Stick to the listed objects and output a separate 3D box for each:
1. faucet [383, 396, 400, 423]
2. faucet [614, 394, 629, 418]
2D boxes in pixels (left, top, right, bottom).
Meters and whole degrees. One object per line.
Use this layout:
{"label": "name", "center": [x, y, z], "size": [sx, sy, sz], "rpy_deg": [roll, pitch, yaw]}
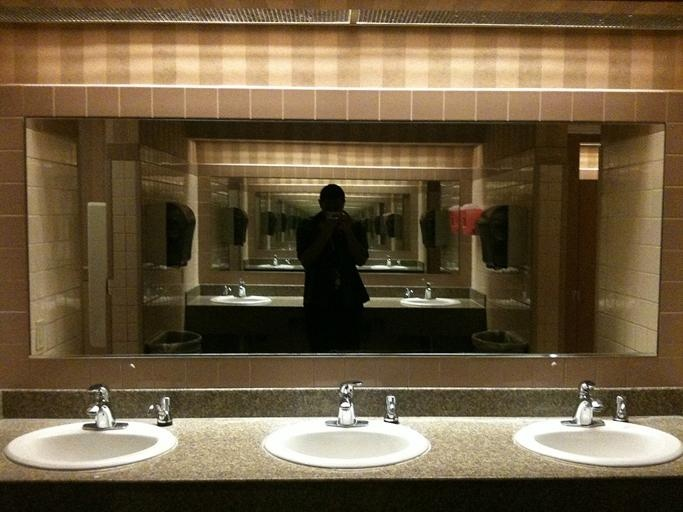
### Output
{"label": "faucet", "center": [0.223, 0.687, 3.102], "size": [0.081, 0.134, 0.112], "rpy_deg": [0, -12, 3]}
{"label": "faucet", "center": [1.265, 0.684, 3.155], "size": [0.052, 0.105, 0.117], "rpy_deg": [-1, 2, 22]}
